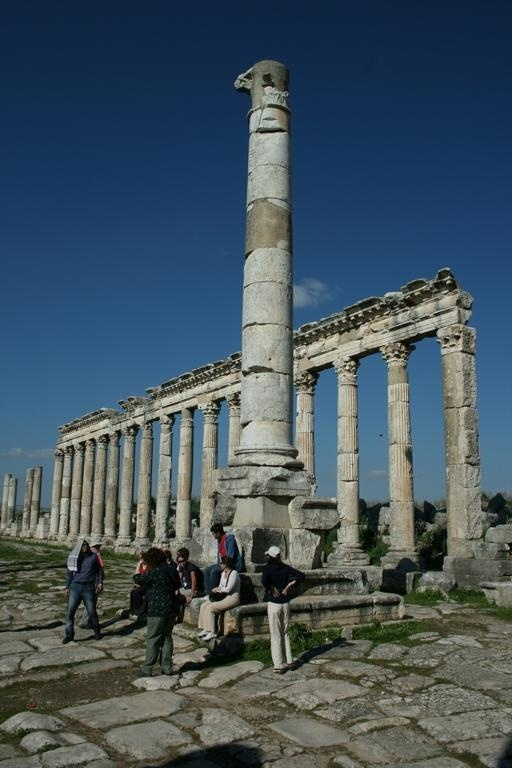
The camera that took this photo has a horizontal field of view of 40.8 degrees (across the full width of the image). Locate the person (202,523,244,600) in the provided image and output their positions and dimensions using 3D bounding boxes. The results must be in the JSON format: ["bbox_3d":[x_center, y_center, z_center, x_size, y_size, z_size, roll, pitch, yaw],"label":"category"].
[{"bbox_3d":[-0.382,1.986,7.815,0.485,0.757,0.316,1,-14,-26],"label":"person"}]

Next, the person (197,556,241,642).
[{"bbox_3d":[-0.369,2.116,6.828,0.401,0.798,0.290,0,-12,-3],"label":"person"}]

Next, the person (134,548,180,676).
[{"bbox_3d":[-0.840,1.958,5.979,0.337,1.005,0.424,1,-12,-8],"label":"person"}]

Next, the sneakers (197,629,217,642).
[{"bbox_3d":[-0.478,2.451,6.715,0.081,0.052,0.139,-1,-10,42],"label":"sneakers"}]

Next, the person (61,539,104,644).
[{"bbox_3d":[-1.917,2.261,7.689,0.404,1.054,0.941,3,-12,-13],"label":"person"}]

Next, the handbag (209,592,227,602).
[{"bbox_3d":[-0.377,2.094,6.781,0.092,0.069,0.124,-1,-12,5],"label":"handbag"}]
